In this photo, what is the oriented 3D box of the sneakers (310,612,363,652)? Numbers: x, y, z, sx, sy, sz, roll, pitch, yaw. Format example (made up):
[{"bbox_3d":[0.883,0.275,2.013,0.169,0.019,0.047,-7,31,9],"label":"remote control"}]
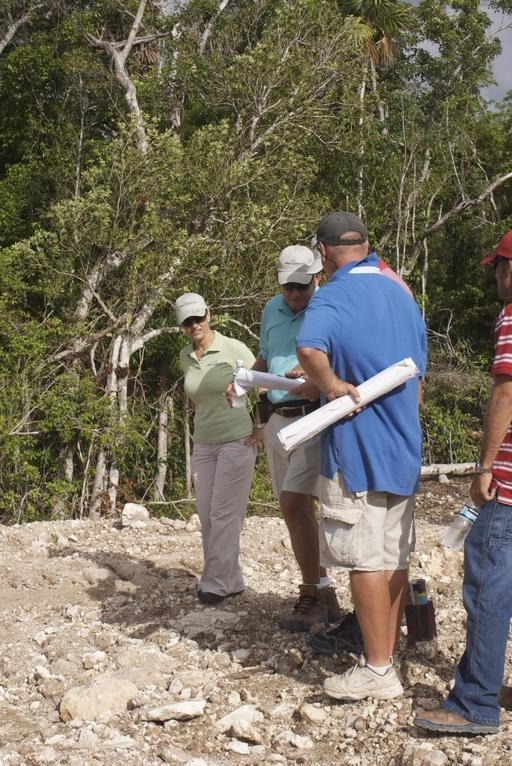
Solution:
[{"bbox_3d":[0.415,1.258,4.280,0.357,0.147,0.127,1,-3,1],"label":"sneakers"}]

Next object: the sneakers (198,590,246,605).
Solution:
[{"bbox_3d":[-0.227,1.320,5.394,0.238,0.093,0.085,-8,13,-32],"label":"sneakers"}]

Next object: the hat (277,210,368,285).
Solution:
[{"bbox_3d":[0.308,-0.635,4.046,0.476,0.236,0.247,-12,21,45],"label":"hat"}]

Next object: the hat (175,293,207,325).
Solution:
[{"bbox_3d":[-0.406,-0.462,5.309,0.178,0.195,0.185,-6,5,-4],"label":"hat"}]

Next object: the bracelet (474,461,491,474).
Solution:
[{"bbox_3d":[0.909,0.338,3.449,0.053,0.028,0.050,2,13,-8],"label":"bracelet"}]

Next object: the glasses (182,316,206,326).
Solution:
[{"bbox_3d":[-0.392,-0.385,5.276,0.080,0.074,0.023,-13,9,2],"label":"glasses"}]

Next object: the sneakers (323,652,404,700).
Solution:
[{"bbox_3d":[0.463,1.287,3.766,0.397,0.187,0.147,1,3,3],"label":"sneakers"}]

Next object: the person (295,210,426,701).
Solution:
[{"bbox_3d":[0.480,0.317,3.737,0.664,2.156,0.381,-11,7,-37],"label":"person"}]
